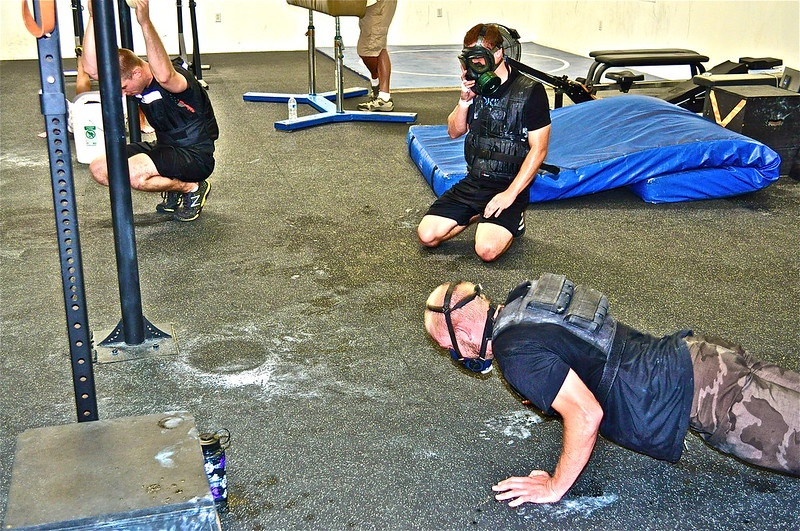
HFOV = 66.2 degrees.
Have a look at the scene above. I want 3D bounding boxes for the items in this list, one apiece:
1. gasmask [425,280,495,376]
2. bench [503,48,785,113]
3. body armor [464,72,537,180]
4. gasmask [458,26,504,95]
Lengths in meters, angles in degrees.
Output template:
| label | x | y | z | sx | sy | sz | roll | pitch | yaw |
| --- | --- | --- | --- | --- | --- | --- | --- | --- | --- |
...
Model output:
| label | x | y | z | sx | sy | sz | roll | pitch | yaw |
| --- | --- | --- | --- | --- | --- | --- | --- | --- | --- |
| gasmask | 0.209 | 0.256 | 2.395 | 0.281 | 0.343 | 0.264 | -13 | -2 | 43 |
| bench | 2.773 | -2.124 | 6.801 | 2.568 | 0.654 | 1.632 | -4 | 24 | -7 |
| body armor | 0.689 | -0.952 | 4.103 | 0.412 | 0.667 | 0.535 | -10 | 28 | -18 |
| gasmask | 0.492 | -1.294 | 3.948 | 0.276 | 0.394 | 0.218 | 20 | -3 | 45 |
